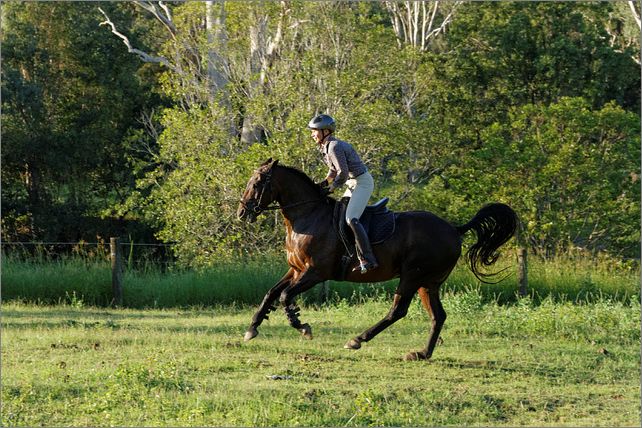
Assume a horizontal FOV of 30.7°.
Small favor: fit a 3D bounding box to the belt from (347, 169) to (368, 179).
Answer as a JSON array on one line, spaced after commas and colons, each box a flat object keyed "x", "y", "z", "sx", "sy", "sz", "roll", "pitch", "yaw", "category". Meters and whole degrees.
[{"x": 1.182, "y": -1.271, "z": 37.683, "sx": 0.457, "sy": 0.144, "sz": 0.328, "roll": -5, "pitch": 10, "yaw": -14, "category": "belt"}]
